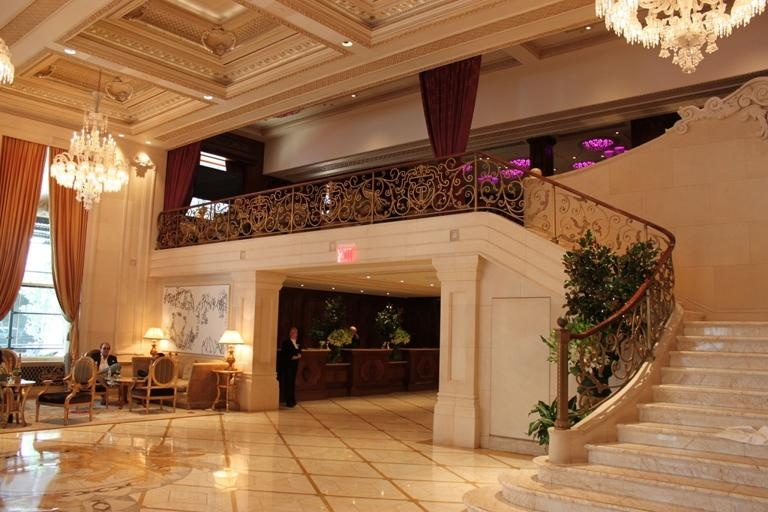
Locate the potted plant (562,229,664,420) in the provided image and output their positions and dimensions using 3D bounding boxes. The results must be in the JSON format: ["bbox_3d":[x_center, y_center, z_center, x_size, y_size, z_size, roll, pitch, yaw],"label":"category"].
[{"bbox_3d":[3.004,0.821,6.930,2.240,2.414,0.959,6,-10,-32],"label":"potted plant"}]

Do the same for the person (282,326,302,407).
[{"bbox_3d":[-2.404,2.828,13.202,0.534,1.933,0.970,2,-9,-8],"label":"person"}]
